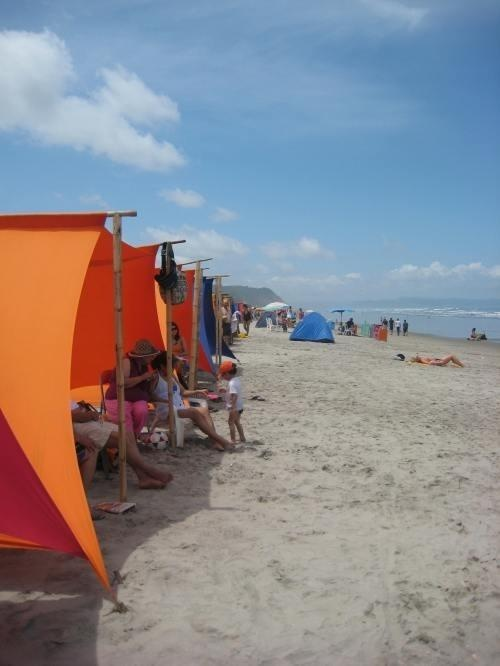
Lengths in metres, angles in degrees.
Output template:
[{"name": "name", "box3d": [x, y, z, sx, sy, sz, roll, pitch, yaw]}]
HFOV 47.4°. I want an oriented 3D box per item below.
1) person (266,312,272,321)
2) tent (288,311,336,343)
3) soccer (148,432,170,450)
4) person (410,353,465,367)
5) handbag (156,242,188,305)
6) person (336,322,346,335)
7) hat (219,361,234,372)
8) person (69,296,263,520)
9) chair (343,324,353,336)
[{"name": "person", "box3d": [1.142, -1.033, 34.994, 0.607, 0.454, 0.841, -3, -2, -1]}, {"name": "tent", "box3d": [2.463, -0.180, 22.249, 1.542, 0.717, 1.241, 3, -3, -15]}, {"name": "soccer", "box3d": [-0.906, 1.077, 5.652, 0.142, 0.103, 0.187, -6, 31, -24]}, {"name": "person", "box3d": [4.961, 0.732, 15.047, 1.423, 0.291, 0.886, 0, 5, -21]}, {"name": "handbag", "box3d": [-0.785, -0.577, 5.649, 0.300, 0.612, 0.606, 1, 6, -7]}, {"name": "person", "box3d": [5.111, -0.243, 31.430, 0.602, 0.735, 1.371, 0, -3, 5]}, {"name": "hat", "box3d": [-0.267, 0.367, 5.903, 0.141, 0.086, 0.073, -31, -45, 34]}, {"name": "person", "box3d": [-0.990, 0.810, 5.235, 2.228, 1.045, 0.729, -6, -1, 30]}, {"name": "chair", "box3d": [5.202, -0.120, 30.139, 0.420, 0.519, 0.492, -1, -12, 6]}]
